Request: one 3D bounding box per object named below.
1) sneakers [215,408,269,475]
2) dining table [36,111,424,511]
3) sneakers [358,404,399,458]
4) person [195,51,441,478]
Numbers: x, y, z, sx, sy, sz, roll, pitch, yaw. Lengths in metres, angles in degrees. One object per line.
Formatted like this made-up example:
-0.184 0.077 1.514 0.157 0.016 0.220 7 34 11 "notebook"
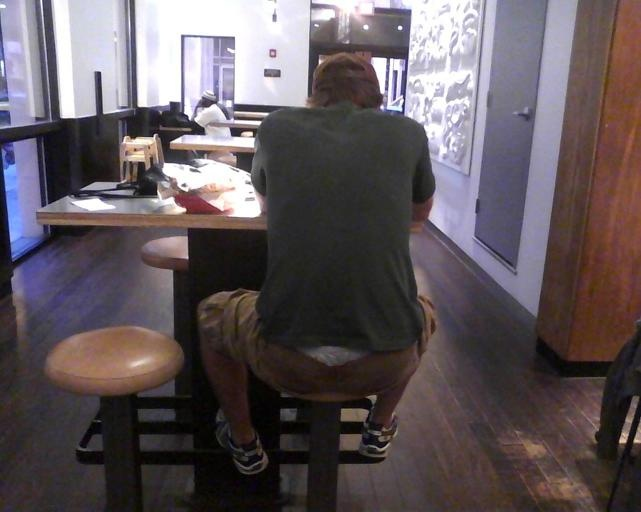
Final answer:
-0.310 0.671 1.884 0.119 0.154 0.361 -9 32 -21 "sneakers"
-0.329 0.297 2.128 1.273 1.412 1.392 3 24 3 "dining table"
0.229 0.661 1.942 0.087 0.115 0.235 1 12 6 "sneakers"
-0.019 0.199 1.630 0.758 1.590 0.500 6 19 15 "person"
